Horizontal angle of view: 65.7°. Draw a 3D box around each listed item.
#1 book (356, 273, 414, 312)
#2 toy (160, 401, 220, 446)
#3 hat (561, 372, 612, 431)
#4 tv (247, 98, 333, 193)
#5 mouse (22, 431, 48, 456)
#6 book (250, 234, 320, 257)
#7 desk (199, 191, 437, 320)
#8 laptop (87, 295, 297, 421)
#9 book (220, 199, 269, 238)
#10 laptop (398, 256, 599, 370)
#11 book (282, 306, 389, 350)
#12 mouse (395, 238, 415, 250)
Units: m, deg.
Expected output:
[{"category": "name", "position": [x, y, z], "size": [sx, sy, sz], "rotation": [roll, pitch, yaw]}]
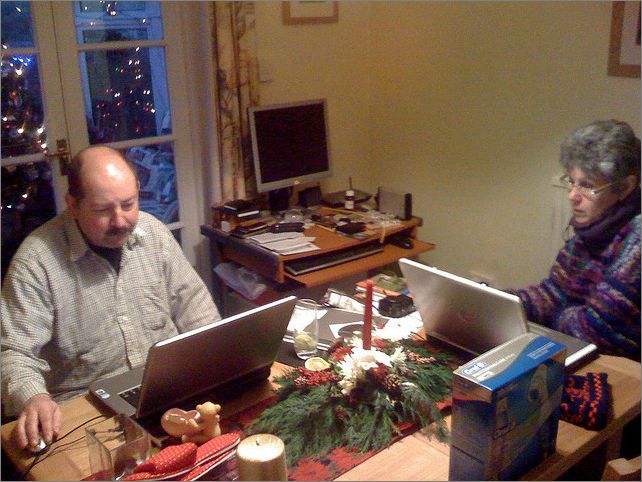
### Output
[{"category": "book", "position": [0.264, 0.210, 2.006], "size": [0.172, 0.033, 0.163], "rotation": [12, 17, 34]}, {"category": "toy", "position": [-0.320, 0.491, 1.340], "size": [0.174, 0.099, 0.107], "rotation": [-9, -11, 35]}, {"category": "hat", "position": [0.760, 0.455, 1.426], "size": [0.147, 0.042, 0.149], "rotation": [14, 29, 43]}, {"category": "tv", "position": [-0.173, -0.624, 3.175], "size": [0.713, 0.536, 0.056], "rotation": [1, 10, 43]}, {"category": "mouse", "position": [-0.754, 0.544, 1.322], "size": [0.012, 0.044, 0.048], "rotation": [-42, -14, 34]}, {"category": "book", "position": [-0.204, 0.004, 2.856], "size": [0.212, 0.020, 0.195], "rotation": [-16, 26, -42]}, {"category": "desk", "position": [0.007, 0.253, 3.246], "size": [0.863, 0.664, 1.151], "rotation": [20, 26, 41]}, {"category": "laptop", "position": [-0.411, 0.326, 1.535], "size": [0.430, 0.264, 0.498], "rotation": [9, 16, 41]}, {"category": "book", "position": [-0.451, -0.147, 3.067], "size": [0.309, 0.089, 0.225], "rotation": [-19, 32, -40]}, {"category": "laptop", "position": [0.595, 0.180, 1.644], "size": [0.460, 0.316, 0.490], "rotation": [-21, 22, -30]}, {"category": "book", "position": [0.041, 0.297, 1.683], "size": [0.198, 0.039, 0.177], "rotation": [-14, 21, -40]}, {"category": "mouse", "position": [0.525, 0.014, 3.079], "size": [0.058, 0.033, 0.102], "rotation": [-22, 29, -32]}]
